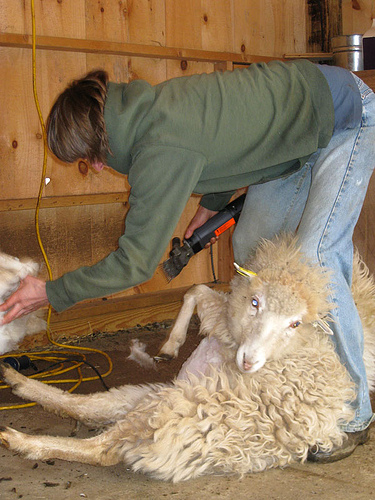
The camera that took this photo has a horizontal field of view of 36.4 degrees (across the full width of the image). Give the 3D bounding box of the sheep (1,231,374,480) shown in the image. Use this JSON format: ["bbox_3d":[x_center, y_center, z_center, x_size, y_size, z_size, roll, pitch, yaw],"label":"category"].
[{"bbox_3d":[0.265,0.380,2.050,1.707,0.712,0.549,0,1,-10],"label":"sheep"}]

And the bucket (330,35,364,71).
[{"bbox_3d":[0.951,-1.142,3.371,0.179,0.224,0.161,-10,23,-5],"label":"bucket"}]
